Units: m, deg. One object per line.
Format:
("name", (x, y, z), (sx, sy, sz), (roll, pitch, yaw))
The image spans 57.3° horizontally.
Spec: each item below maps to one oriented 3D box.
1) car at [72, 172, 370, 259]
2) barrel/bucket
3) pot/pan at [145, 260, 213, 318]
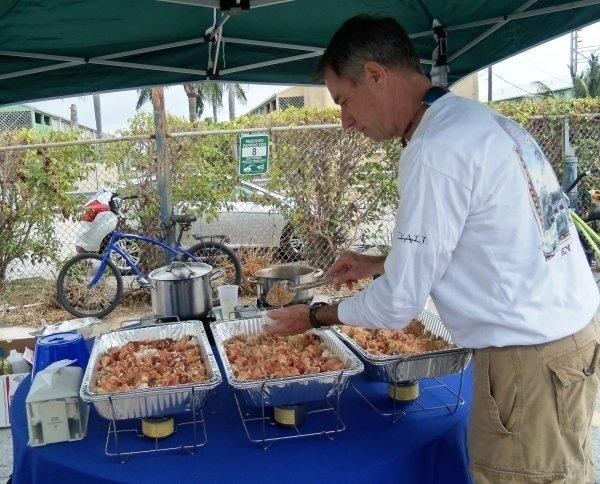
("car", (-1.173, -0.400, 7.345), (1.973, 0.783, 0.981), (-1, 8, -12))
("barrel/bucket", (-1.152, 0.553, 2.657), (0.210, 0.174, 0.226), (2, 4, 0))
("pot/pan", (-0.745, 0.284, 3.456), (0.394, 0.378, 0.381), (4, 15, 20))
